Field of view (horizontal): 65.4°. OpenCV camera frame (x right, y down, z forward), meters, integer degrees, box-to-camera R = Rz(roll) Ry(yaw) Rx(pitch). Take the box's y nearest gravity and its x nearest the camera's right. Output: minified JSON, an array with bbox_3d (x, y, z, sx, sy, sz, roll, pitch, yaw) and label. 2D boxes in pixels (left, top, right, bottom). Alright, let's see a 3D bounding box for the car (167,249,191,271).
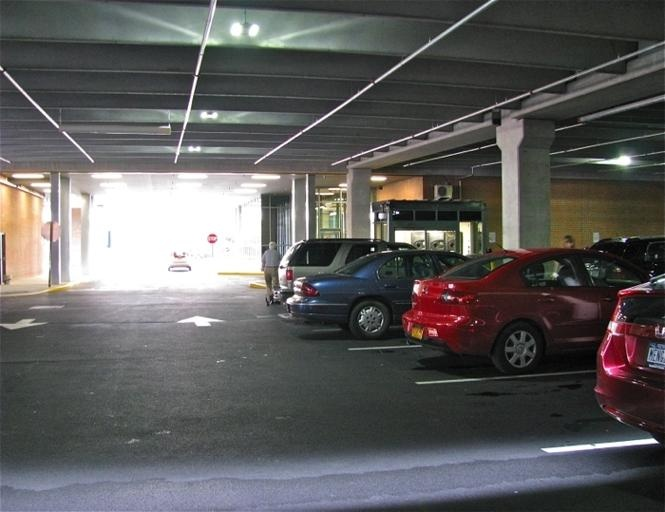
[{"bbox_3d":[-12.568,0.393,42.389,1.774,1.174,2.786,2,14,-9],"label":"car"}]
